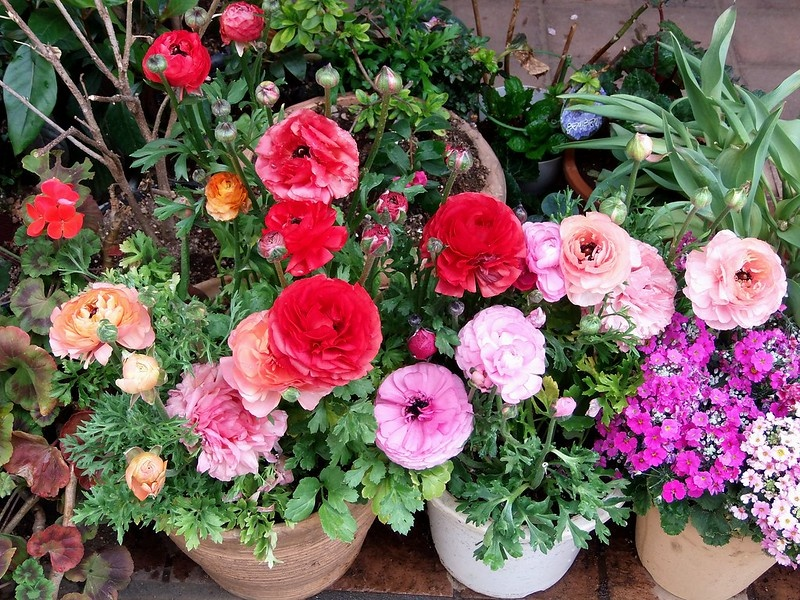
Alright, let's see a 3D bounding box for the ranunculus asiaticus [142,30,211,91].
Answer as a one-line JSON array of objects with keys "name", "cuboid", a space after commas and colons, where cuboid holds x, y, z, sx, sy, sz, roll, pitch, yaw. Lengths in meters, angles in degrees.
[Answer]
[{"name": "ranunculus asiaticus", "cuboid": [-0.411, -0.457, 1.207, 0.112, 0.073, 0.115, 7, 86, -8]}]
